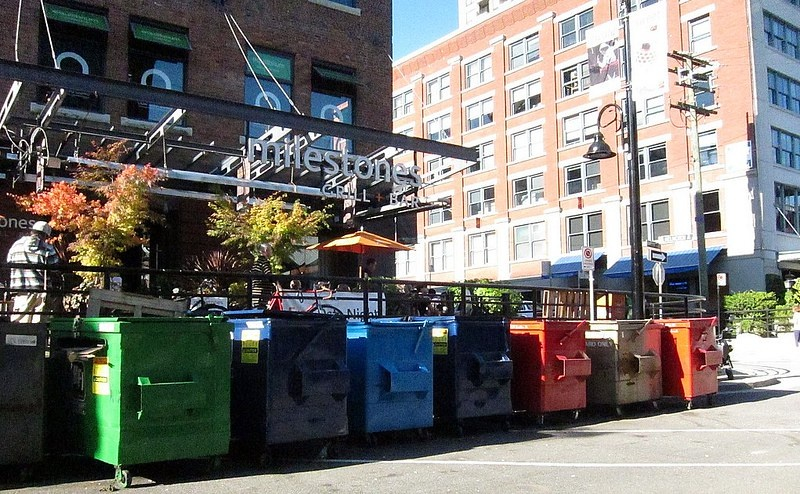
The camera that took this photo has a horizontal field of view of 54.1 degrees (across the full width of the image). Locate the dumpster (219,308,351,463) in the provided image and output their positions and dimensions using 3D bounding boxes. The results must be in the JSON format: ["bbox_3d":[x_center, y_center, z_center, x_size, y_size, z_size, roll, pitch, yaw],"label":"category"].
[{"bbox_3d":[-2.235,2.647,15.680,2.669,3.144,2.613,4,-9,-37],"label":"dumpster"}]

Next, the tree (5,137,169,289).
[{"bbox_3d":[-8.494,-1.667,23.074,4.917,5.008,3.907,-2,-13,-31],"label":"tree"}]

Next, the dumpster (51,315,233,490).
[{"bbox_3d":[-4.988,2.493,14.462,2.919,2.825,3.050,2,-4,-36],"label":"dumpster"}]

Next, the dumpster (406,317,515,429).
[{"bbox_3d":[1.398,2.662,17.199,1.796,2.129,2.241,3,-6,-26],"label":"dumpster"}]

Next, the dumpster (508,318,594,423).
[{"bbox_3d":[3.097,2.830,18.259,1.697,2.426,2.841,-8,-11,26],"label":"dumpster"}]

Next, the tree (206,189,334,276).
[{"bbox_3d":[-4.025,-0.468,24.381,2.813,2.311,2.776,-2,-3,12],"label":"tree"}]

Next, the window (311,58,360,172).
[{"bbox_3d":[-2.451,-4.467,27.572,2.088,3.598,1.980,8,-18,-17],"label":"window"}]

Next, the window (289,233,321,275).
[{"bbox_3d":[-3.100,0.223,25.244,1.511,1.375,0.358,1,1,-43],"label":"window"}]

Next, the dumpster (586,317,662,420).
[{"bbox_3d":[5.347,2.869,19.185,1.843,2.071,1.743,2,-4,-33],"label":"dumpster"}]

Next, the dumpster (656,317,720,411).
[{"bbox_3d":[7.149,2.895,19.402,1.310,2.171,2.190,1,-3,-32],"label":"dumpster"}]

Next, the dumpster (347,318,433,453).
[{"bbox_3d":[-0.120,2.816,16.792,1.933,2.574,2.292,3,-9,-27],"label":"dumpster"}]
